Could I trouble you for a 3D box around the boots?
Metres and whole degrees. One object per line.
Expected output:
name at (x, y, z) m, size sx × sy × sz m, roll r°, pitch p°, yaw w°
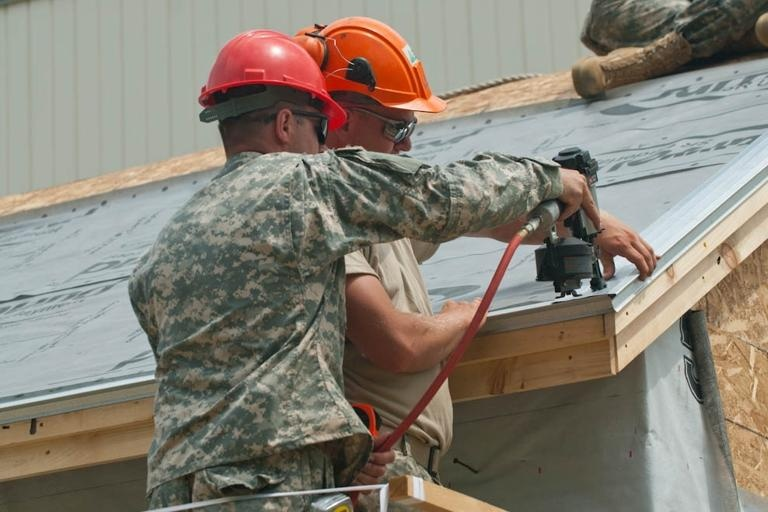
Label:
boots at (2.051, -1.585, 14.304) m, size 0.965 × 0.341 × 0.483 m, roll -21°, pitch 20°, yaw -12°
